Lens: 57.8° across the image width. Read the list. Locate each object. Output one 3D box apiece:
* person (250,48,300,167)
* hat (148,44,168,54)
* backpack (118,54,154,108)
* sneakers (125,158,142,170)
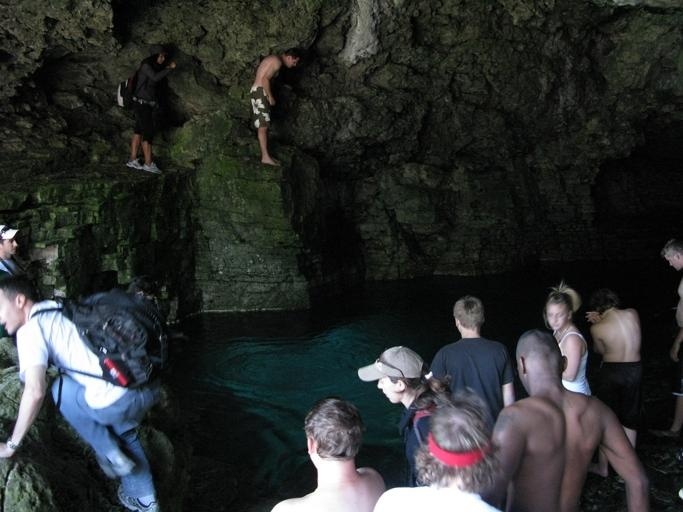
[{"bbox_3d":[-1.345,-3.109,12.970,1.028,2.325,1.142,-2,13,-5],"label":"person"},{"bbox_3d":[-3.462,-3.886,11.776,0.271,0.093,0.281,0,21,4],"label":"hat"},{"bbox_3d":[-3.903,-3.250,11.654,0.714,0.900,0.340,4,14,20],"label":"backpack"},{"bbox_3d":[-4.016,-1.783,12.069,0.357,0.171,0.155,15,31,7],"label":"sneakers"}]
